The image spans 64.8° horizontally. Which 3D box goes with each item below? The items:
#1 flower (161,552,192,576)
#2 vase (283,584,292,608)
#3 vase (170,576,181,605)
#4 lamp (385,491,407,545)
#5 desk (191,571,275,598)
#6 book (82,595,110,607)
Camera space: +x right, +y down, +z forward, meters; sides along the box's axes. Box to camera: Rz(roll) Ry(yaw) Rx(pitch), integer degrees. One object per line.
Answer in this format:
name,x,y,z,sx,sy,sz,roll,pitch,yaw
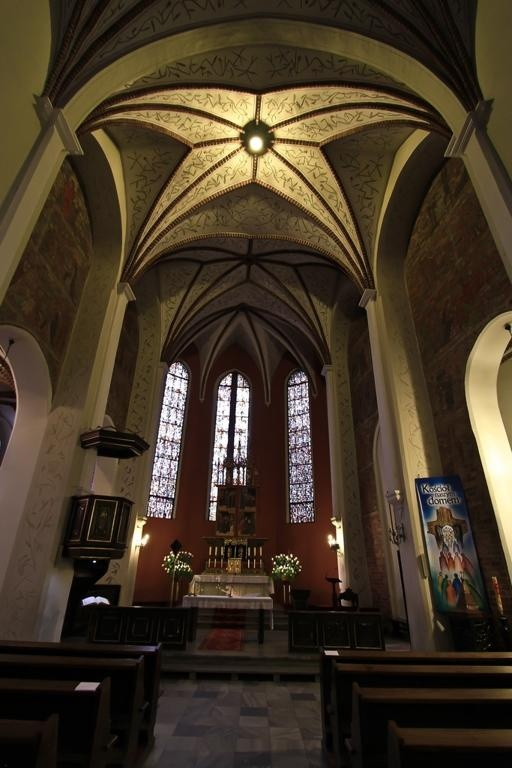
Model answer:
flower,-2.293,5.143,11.713,0.819,0.952,0.661,0,-22,-3
vase,0.943,6.524,12.730,0.221,0.693,0.495,1,-26,0
vase,-2.450,6.207,12.302,0.312,0.765,1.148,5,-27,-9
lamp,2.534,2.491,7.444,0.274,0.985,2.007,-6,-28,16
desk,-0.593,4.774,9.721,1.923,0.461,0.488,5,-27,-8
book,-2.883,3.863,7.286,0.394,0.117,0.794,13,-30,-22
